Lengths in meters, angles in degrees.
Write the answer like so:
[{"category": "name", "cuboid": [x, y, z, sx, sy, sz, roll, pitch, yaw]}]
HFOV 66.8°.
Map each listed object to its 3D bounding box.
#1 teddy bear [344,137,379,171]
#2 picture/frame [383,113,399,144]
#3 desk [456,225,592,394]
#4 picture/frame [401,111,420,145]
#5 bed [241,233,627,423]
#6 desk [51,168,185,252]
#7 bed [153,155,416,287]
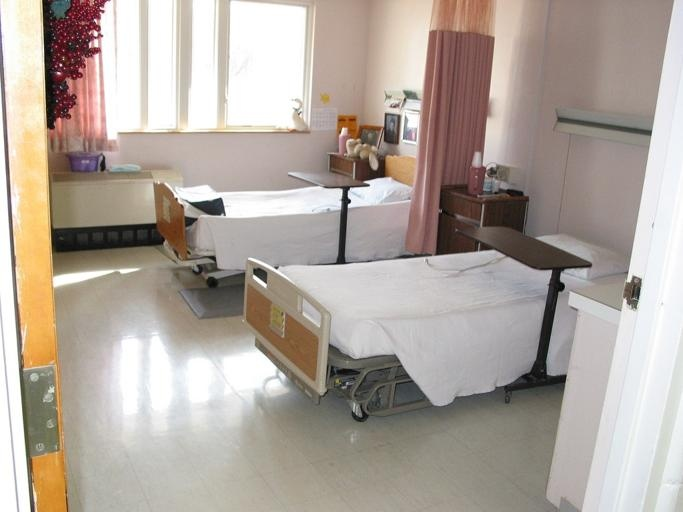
[{"category": "teddy bear", "cuboid": [0.275, -1.334, 6.639, 0.401, 0.167, 0.404, 22, 42, 13]}, {"category": "picture/frame", "cuboid": [0.651, -1.658, 6.695, 0.045, 0.393, 0.339, -4, 20, -24]}, {"category": "desk", "cuboid": [1.175, 0.378, 3.351, 0.401, 0.810, 0.904, -2, 21, -15]}, {"category": "picture/frame", "cuboid": [0.847, -1.580, 6.402, 0.080, 0.396, 0.358, -8, 18, -19]}, {"category": "bed", "cuboid": [0.547, 0.377, 3.394, 2.060, 0.708, 1.282, -8, 22, -25]}, {"category": "desk", "cuboid": [-2.709, -0.620, 5.947, 1.353, 0.886, 0.813, -6, 18, -26]}, {"category": "bed", "cuboid": [-0.580, -0.382, 5.405, 2.274, 1.073, 1.278, -9, 21, -23]}]
